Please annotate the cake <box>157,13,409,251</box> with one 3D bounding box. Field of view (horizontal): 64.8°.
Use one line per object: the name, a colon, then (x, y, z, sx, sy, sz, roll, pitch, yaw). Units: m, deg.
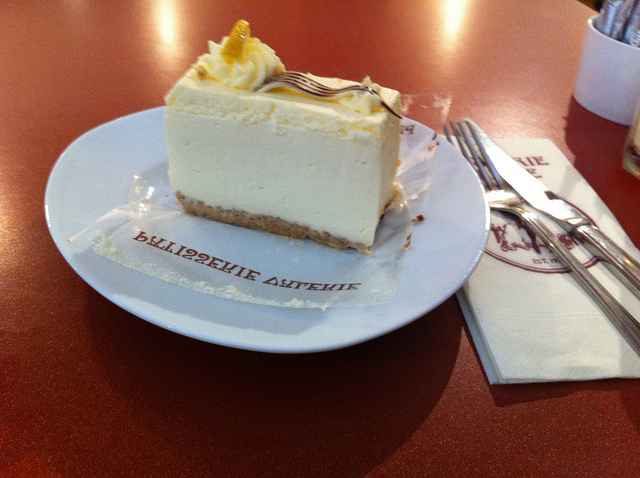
cake: (-0.056, -0.264, 1.282, 0.598, 0.456, 0.300, 14, 32, 23)
